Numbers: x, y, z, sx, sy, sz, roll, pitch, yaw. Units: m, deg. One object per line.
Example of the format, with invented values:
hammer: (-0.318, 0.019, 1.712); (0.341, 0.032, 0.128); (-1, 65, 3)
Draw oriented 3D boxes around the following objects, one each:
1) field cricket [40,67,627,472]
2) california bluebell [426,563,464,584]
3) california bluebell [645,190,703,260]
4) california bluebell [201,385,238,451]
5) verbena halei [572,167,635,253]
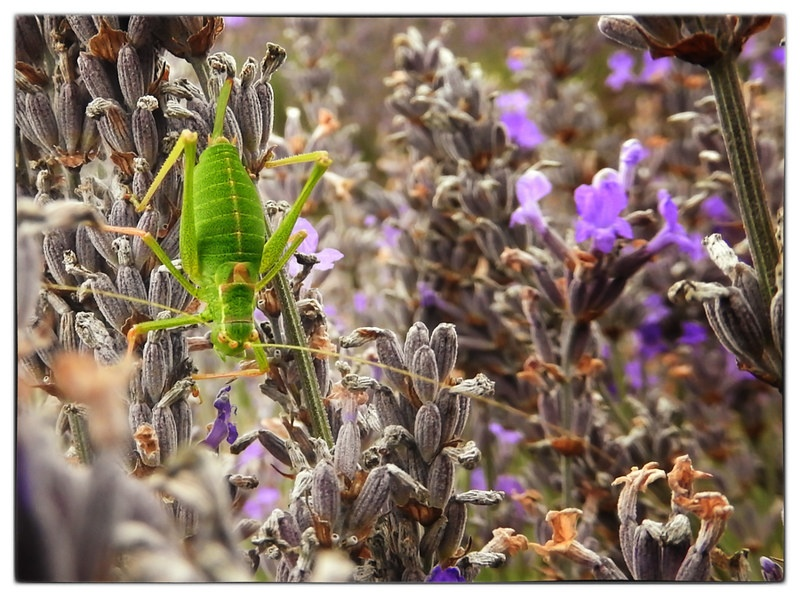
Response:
field cricket: (-0.194, -0.047, 3.516); (1.518, 0.560, 1.222); (9, 28, 19)
california bluebell: (0.135, 0.790, 3.338); (0.078, 0.059, 0.032); (3, 49, -8)
california bluebell: (0.854, -0.231, 3.739); (0.183, 0.089, 0.239); (-12, 64, -37)
california bluebell: (-0.546, 0.388, 3.555); (0.085, 0.234, 0.071); (23, 32, 9)
verbena halei: (0.628, -0.273, 3.667); (0.184, 0.261, 0.192); (-1, 15, -1)
